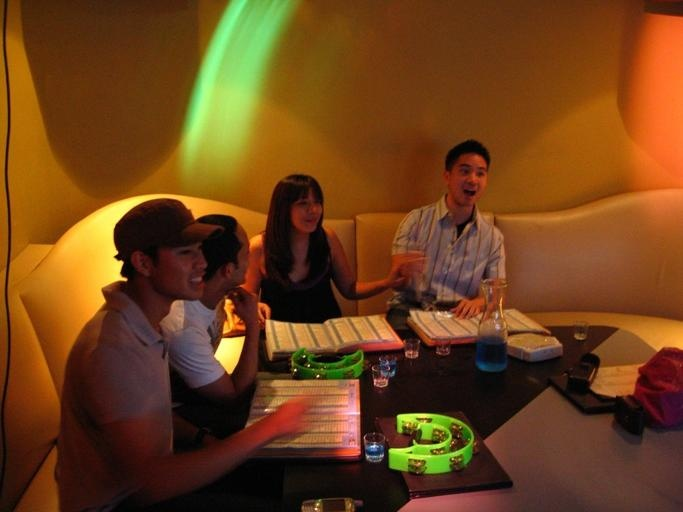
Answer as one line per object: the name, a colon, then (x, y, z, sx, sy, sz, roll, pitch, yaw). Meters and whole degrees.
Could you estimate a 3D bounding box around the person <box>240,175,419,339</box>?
person: (-0.041, -0.041, 2.795, 0.651, 1.023, 0.779, 4, 12, 41)

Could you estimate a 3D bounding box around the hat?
hat: (-0.537, -0.097, 1.614, 0.296, 0.169, 0.230, -15, 8, -11)

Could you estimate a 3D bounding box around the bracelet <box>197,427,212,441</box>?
bracelet: (-0.415, 0.540, 1.613, 0.025, 0.046, 0.039, 0, 6, -6)

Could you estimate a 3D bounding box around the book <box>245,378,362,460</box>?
book: (-0.103, 0.484, 1.593, 0.324, 0.037, 0.394, 0, 16, -3)

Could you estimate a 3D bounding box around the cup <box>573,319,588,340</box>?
cup: (0.897, 0.285, 2.054, 0.054, 0.071, 0.060, 2, 8, 3)

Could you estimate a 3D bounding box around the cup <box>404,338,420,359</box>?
cup: (0.247, 0.334, 1.915, 0.054, 0.051, 0.050, -2, 2, 0)

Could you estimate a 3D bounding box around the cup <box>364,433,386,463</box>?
cup: (0.087, 0.520, 1.446, 0.056, 0.076, 0.067, 0, 5, 2)

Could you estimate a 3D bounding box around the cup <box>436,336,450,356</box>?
cup: (0.360, 0.324, 1.919, 0.042, 0.052, 0.049, 1, 4, 5)
